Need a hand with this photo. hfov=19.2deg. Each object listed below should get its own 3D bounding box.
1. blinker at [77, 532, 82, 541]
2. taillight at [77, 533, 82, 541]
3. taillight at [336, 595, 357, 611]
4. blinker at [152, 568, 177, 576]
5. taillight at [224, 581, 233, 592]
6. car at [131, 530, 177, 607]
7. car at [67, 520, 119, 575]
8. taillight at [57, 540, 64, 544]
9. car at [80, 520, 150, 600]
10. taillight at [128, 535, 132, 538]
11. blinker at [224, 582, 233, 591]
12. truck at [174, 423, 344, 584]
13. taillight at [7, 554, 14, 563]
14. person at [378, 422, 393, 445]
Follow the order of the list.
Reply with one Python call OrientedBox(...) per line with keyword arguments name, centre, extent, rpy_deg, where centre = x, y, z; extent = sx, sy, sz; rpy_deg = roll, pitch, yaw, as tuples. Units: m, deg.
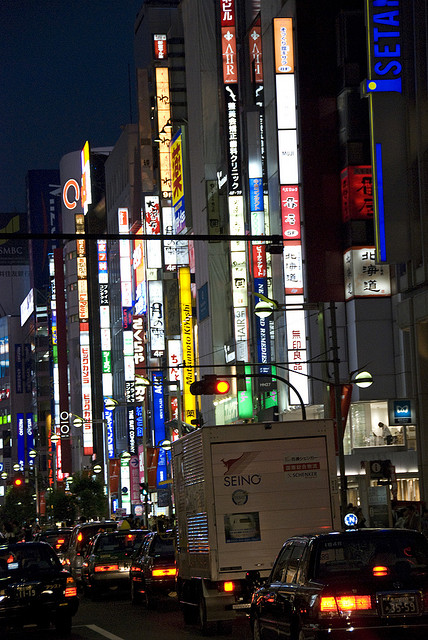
OrientedBox(name="blinker", centre=(-3.347, 5.435, 31.553), extent=(0.149, 0.203, 0.047), rpy_deg=(-2, -11, 2))
OrientedBox(name="taillight", centre=(-3.335, 5.435, 31.506), extent=(0.128, 0.122, 0.030), rpy_deg=(-8, -5, 30))
OrientedBox(name="taillight", centre=(1.150, 2.467, 10.984), extent=(0.207, 0.176, 0.105), rpy_deg=(0, -17, -2))
OrientedBox(name="blinker", centre=(-0.850, 4.339, 21.664), extent=(0.413, 0.118, 0.124), rpy_deg=(-5, -6, 8))
OrientedBox(name="taillight", centre=(0.194, 3.477, 16.459), extent=(0.149, 0.138, 0.035), rpy_deg=(-1, 1, 0))
OrientedBox(name="car", centre=(-1.002, 4.445, 22.297), extent=(0.754, 0.781, 1.762), rpy_deg=(-1, -2, -9))
OrientedBox(name="car", centre=(-2.920, 5.517, 30.950), extent=(1.096, 1.071, 1.971), rpy_deg=(-1, -1, -10))
OrientedBox(name="taillight", centre=(-4.227, 6.176, 35.015), extent=(0.166, 0.102, 0.184), rpy_deg=(-3, -6, -12))
OrientedBox(name="car", centre=(-2.119, 5.039, 26.230), extent=(1.162, 0.887, 2.096), rpy_deg=(-1, -3, -12))
OrientedBox(name="taillight", centre=(-1.737, 4.496, 26.153), extent=(0.065, 0.059, 0.015), rpy_deg=(-1, -2, -8))
OrientedBox(name="blinker", centre=(0.193, 3.481, 16.458), extent=(0.107, 0.098, 0.025), rpy_deg=(8, 26, -5))
OrientedBox(name="truck", centre=(0.374, 2.534, 18.449), extent=(2.053, 2.262, 3.430), rpy_deg=(-3, -3, -10))
OrientedBox(name="taillight", centre=(-3.003, 3.550, 18.720), extent=(0.088, 0.106, 0.250), rpy_deg=(-4, -6, -6))
OrientedBox(name="person", centre=(6.451, 4.309, 47.495), extent=(0.496, 0.852, 0.845), rpy_deg=(-5, -6, 8))
